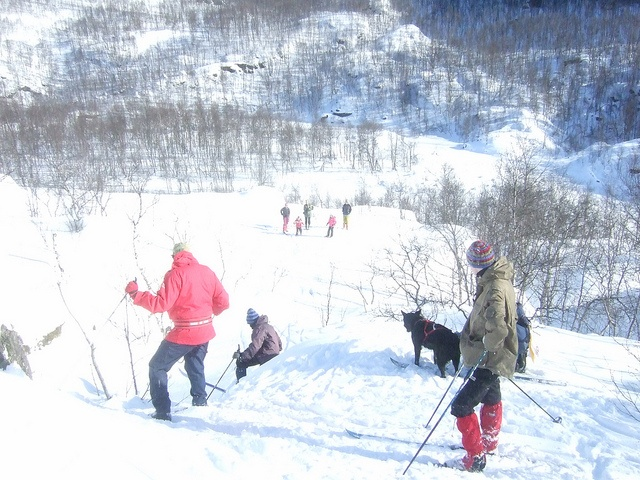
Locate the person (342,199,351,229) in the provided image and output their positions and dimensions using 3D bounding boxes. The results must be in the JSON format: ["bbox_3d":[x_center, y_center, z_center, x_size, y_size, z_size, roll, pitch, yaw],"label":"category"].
[{"bbox_3d":[2.080,-2.003,44.728,0.613,2.313,1.580,1,14,2],"label":"person"}]

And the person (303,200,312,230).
[{"bbox_3d":[-1.023,-1.948,44.082,0.500,2.393,0.919,0,14,-5],"label":"person"}]

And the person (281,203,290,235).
[{"bbox_3d":[-2.678,-1.658,42.658,0.623,2.139,1.140,0,14,-5],"label":"person"}]

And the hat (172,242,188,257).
[{"bbox_3d":[-7.345,0.464,29.019,0.533,0.772,0.688,9,-15,32],"label":"hat"}]
